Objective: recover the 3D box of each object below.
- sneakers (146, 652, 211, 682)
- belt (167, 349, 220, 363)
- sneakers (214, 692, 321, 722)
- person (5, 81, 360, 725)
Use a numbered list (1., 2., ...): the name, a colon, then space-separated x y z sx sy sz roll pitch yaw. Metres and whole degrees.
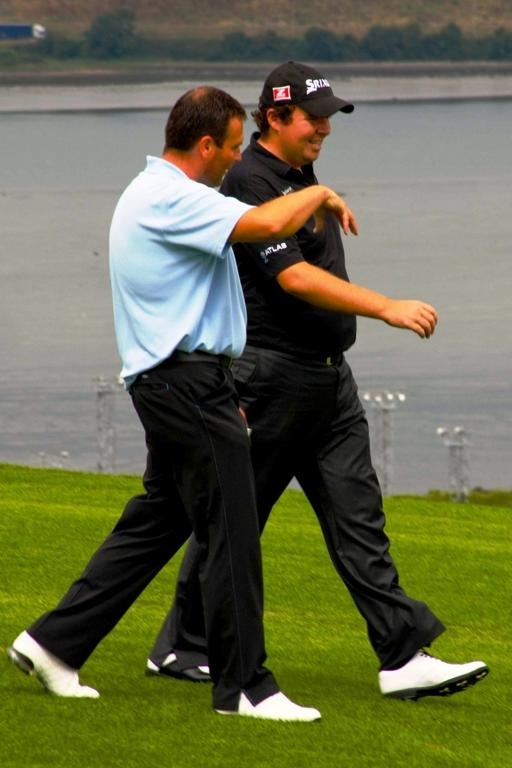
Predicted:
1. sneakers: -0.213 0.774 3.186 0.166 0.067 0.093 0 3 11
2. belt: -0.148 -0.061 2.779 0.122 0.029 0.028 1 5 -28
3. sneakers: 0.034 0.767 2.773 0.221 0.051 0.076 0 -4 14
4. person: -0.176 0.045 2.823 0.769 1.532 0.318 5 5 2
